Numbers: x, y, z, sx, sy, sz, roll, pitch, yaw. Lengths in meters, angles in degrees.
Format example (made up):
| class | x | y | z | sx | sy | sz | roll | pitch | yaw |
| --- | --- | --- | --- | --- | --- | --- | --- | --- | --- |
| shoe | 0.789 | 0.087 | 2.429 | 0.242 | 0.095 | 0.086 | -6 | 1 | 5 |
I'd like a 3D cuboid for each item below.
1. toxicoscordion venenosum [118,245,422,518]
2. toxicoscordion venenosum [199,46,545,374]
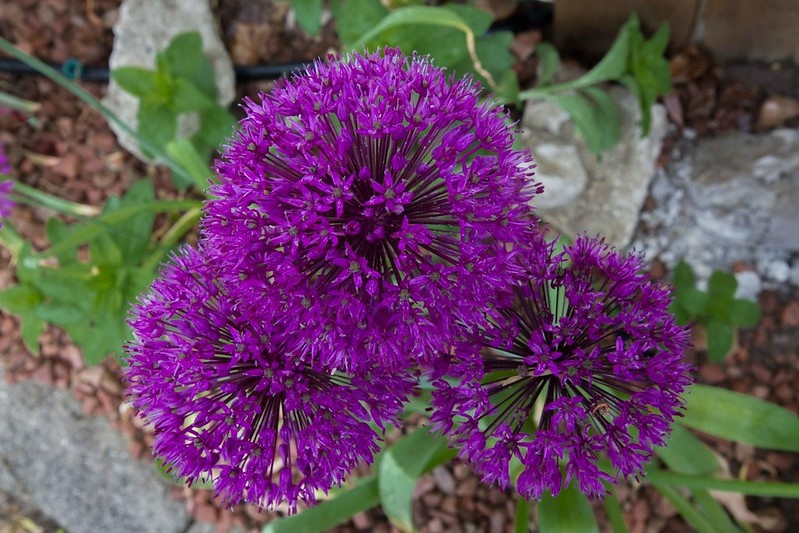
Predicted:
| class | x | y | z | sx | sy | sz | roll | pitch | yaw |
| --- | --- | --- | --- | --- | --- | --- | --- | --- | --- |
| toxicoscordion venenosum | -0.456 | 0.345 | 2.348 | 0.807 | 0.380 | 0.723 | 41 | 92 | 2 |
| toxicoscordion venenosum | -0.091 | -0.175 | 2.010 | 0.919 | 0.248 | 0.943 | 32 | 88 | 3 |
